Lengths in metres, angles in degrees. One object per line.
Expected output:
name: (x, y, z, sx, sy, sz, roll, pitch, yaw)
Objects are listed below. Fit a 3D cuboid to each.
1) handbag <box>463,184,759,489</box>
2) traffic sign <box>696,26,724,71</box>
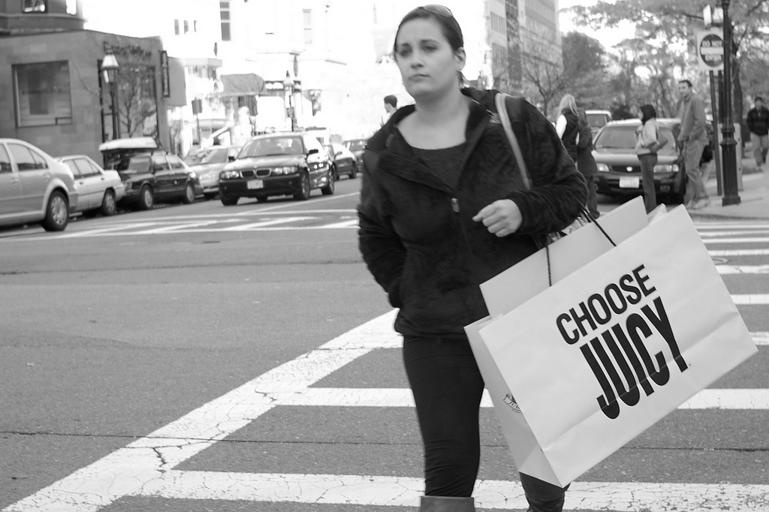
handbag: (0.760, 0.170, 2.859, 0.989, 0.958, 0.326, -27, 6, -17)
traffic sign: (7.704, -4.983, 18.500, 0.662, 0.966, 0.277, 1, 6, 1)
